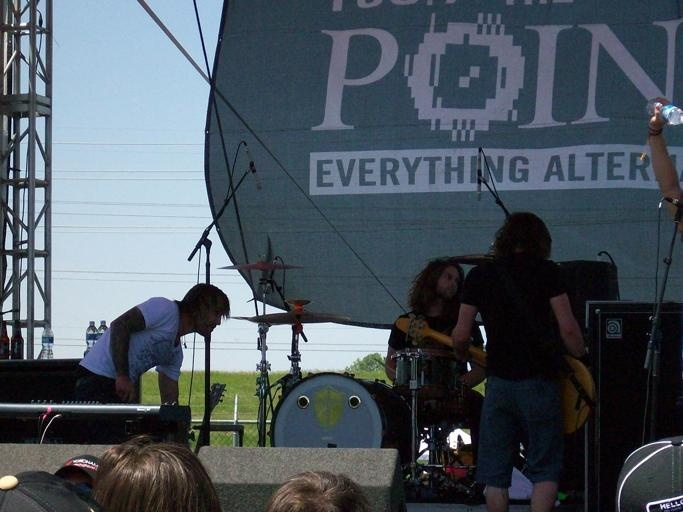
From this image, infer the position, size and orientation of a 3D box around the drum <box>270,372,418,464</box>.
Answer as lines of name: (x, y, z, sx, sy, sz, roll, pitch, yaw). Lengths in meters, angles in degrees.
drum: (-0.004, 1.319, 13.861, 1.151, 0.707, 0.332, 2, -9, 0)

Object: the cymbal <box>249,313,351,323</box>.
cymbal: (-0.390, 0.546, 14.545, 0.317, 0.069, 0.314, 0, -6, 2)

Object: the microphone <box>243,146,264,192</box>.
microphone: (-0.796, -0.808, 16.318, 0.087, 0.508, 0.173, -18, -7, 4)

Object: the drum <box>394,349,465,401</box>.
drum: (0.713, 0.985, 13.843, 0.404, 0.226, 0.480, 0, -6, 17)

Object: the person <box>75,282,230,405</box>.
person: (-1.458, 0.659, 13.073, 0.729, 1.056, 0.918, 2, 2, 26)

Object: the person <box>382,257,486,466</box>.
person: (0.790, 0.897, 14.028, 0.744, 1.686, 0.691, 3, 3, 10)

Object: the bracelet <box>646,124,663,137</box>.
bracelet: (2.323, -0.911, 12.565, 0.099, 0.066, 0.081, -2, -10, 21)
